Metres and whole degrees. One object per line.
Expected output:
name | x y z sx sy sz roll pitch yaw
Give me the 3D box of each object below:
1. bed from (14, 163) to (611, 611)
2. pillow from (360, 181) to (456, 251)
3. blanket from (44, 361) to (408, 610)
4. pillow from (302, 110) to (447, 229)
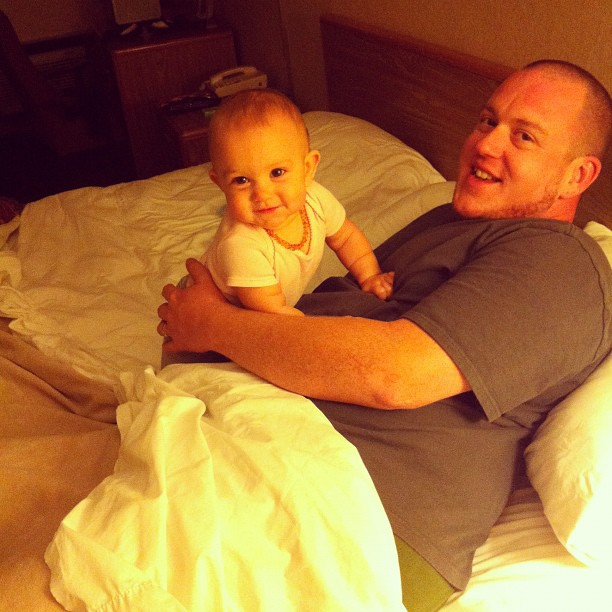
bed | 0.036 0.151 1.031 0.446 0.234 1.040 -22 59 -10
pillow | 0.346 -0.240 1.793 0.285 0.095 0.190 -34 27 10
blanket | -0.084 0.283 0.890 0.503 0.192 0.463 10 51 9
pillow | 0.210 -0.498 2.154 0.406 0.079 0.540 -38 61 -16
